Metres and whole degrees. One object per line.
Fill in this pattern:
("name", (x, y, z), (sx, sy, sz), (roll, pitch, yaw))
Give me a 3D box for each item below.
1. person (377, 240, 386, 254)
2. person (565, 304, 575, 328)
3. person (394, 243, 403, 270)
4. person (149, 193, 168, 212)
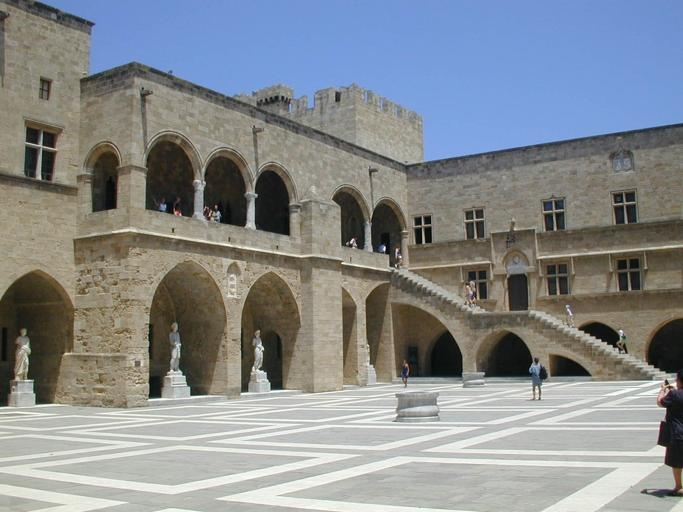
("person", (2.377, -0.498, 41.431), (0.403, 0.717, 0.207), (17, 9, 36))
("person", (11.698, 3.097, 36.857), (0.412, 1.395, 0.594), (0, -24, 10))
("person", (3.336, 0.093, 41.713), (0.433, 1.278, 0.921), (-1, -10, 5))
("person", (-7.993, -2.319, 31.205), (0.426, 0.784, 0.805), (-22, -22, 28))
